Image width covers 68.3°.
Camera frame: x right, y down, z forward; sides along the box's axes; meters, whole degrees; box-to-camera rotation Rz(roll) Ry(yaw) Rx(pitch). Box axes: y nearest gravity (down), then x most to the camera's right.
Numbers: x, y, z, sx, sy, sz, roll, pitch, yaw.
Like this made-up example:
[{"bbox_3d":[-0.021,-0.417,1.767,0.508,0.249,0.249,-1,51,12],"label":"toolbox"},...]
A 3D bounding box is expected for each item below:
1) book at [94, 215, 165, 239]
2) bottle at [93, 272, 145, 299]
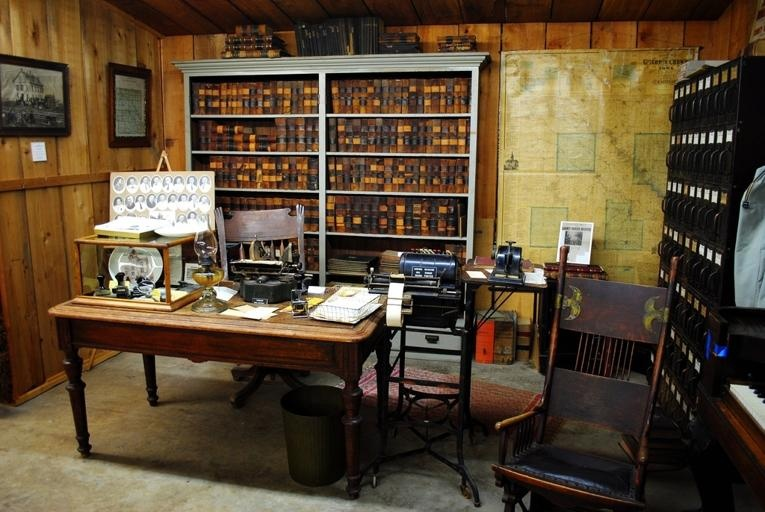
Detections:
[{"bbox_3d":[-1.793,-0.207,4.039,0.510,0.140,0.284,2,8,16],"label":"book"},{"bbox_3d":[-1.859,0.201,3.950,0.302,0.081,0.203,3,6,-3],"label":"bottle"}]
